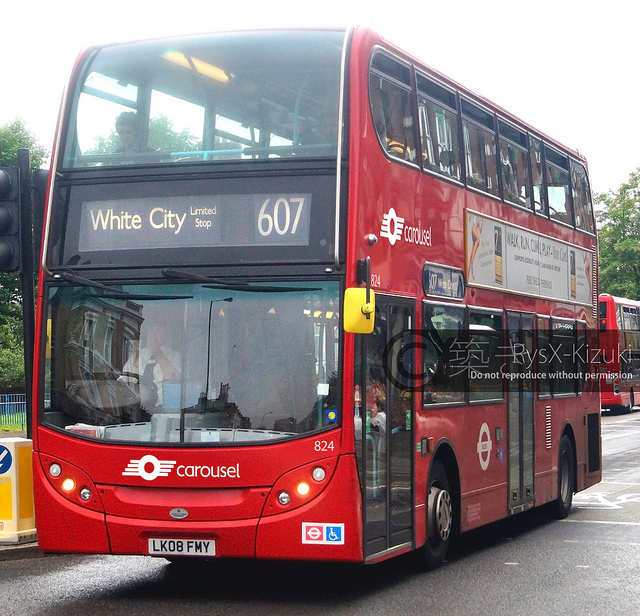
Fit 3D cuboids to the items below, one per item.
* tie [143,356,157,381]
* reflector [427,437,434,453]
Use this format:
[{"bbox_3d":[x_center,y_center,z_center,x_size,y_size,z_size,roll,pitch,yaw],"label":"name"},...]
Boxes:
[{"bbox_3d":[-1.262,0.447,4.899,0.027,0.155,0.116,9,6,-7],"label":"tie"},{"bbox_3d":[1.057,1.306,6.325,0.016,0.147,0.182,-3,-7,24],"label":"reflector"}]
